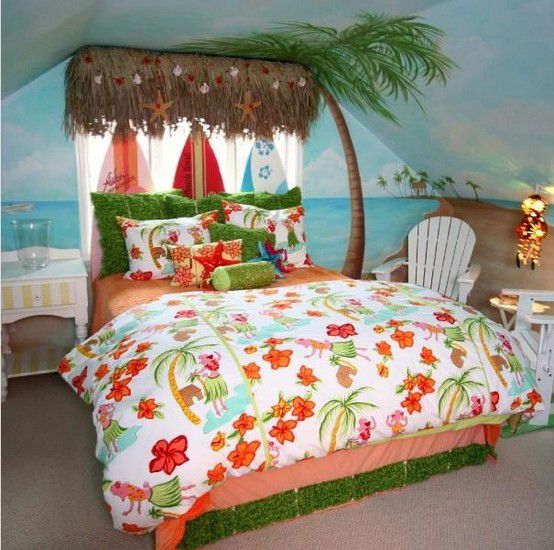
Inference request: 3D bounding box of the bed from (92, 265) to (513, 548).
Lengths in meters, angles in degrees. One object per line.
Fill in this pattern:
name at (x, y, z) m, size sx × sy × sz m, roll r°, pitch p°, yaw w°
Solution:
bed at (-0.146, 0.432, 2.628) m, size 1.641 × 0.687 × 2.195 m, roll -5°, pitch 13°, yaw -26°
